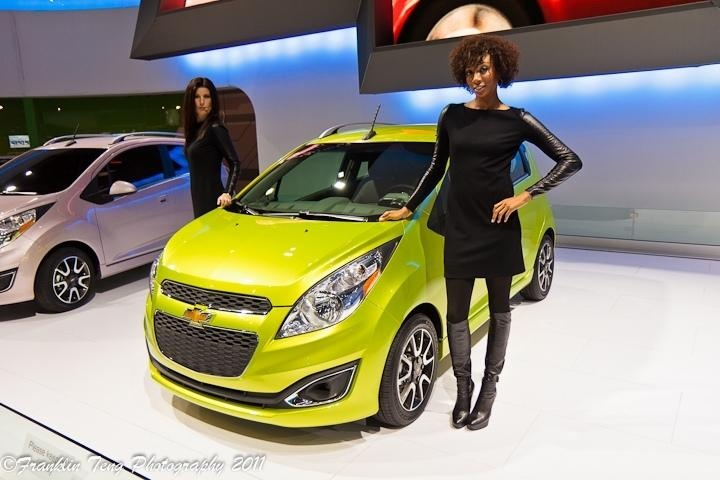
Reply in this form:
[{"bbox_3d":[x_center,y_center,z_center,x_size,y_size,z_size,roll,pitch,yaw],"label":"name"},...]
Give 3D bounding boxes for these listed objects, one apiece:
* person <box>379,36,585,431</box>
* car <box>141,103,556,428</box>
[{"bbox_3d":[0.743,0.005,2.718,0.948,2.443,0.419,9,16,25],"label":"person"},{"bbox_3d":[0.219,-0.086,4.320,2.279,1.856,4.217,7,17,38],"label":"car"}]
